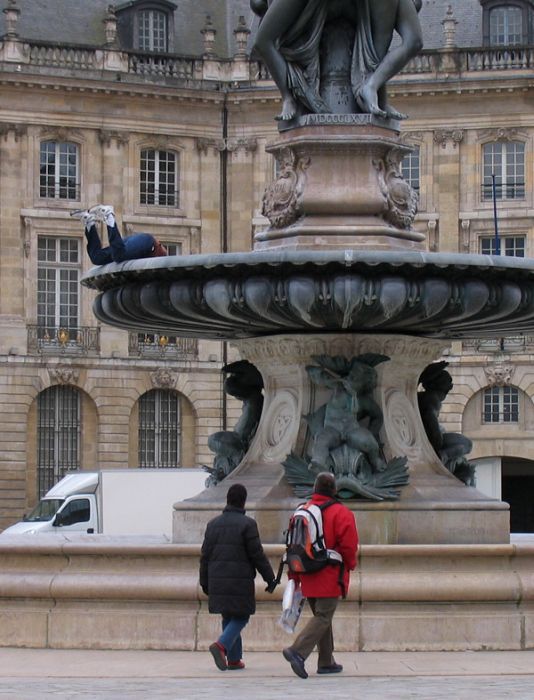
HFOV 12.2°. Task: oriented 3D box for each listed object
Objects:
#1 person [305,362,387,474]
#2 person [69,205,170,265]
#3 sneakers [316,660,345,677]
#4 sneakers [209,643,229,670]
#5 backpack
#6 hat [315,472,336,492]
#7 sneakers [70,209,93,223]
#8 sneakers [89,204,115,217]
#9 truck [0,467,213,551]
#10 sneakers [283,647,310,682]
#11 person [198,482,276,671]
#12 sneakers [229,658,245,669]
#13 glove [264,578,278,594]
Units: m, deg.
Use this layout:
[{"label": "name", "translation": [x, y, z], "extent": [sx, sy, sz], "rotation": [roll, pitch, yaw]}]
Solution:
[{"label": "person", "translation": [0.665, 0.594, 22.201], "extent": [0.714, 1.299, 0.316], "rotation": [4, -33, 3]}, {"label": "person", "translation": [-1.262, -1.007, 22.583], "extent": [1.055, 0.539, 0.369], "rotation": [9, -14, -43]}, {"label": "sneakers", "translation": [0.487, 2.515, 19.699], "extent": [0.221, 0.104, 0.077], "rotation": [-2, -2, -8]}, {"label": "sneakers", "translation": [-0.436, 2.436, 19.840], "extent": [0.084, 0.255, 0.168], "rotation": [-20, -13, 25]}, {"label": "backpack", "translation": [0.330, 1.503, 19.785], "extent": [0.545, 0.578, 0.366], "rotation": [-6, -13, 41]}, {"label": "hat", "translation": [0.460, 1.029, 19.739], "extent": [0.135, 0.202, 0.153], "rotation": [6, 14, 5]}, {"label": "sneakers", "translation": [-1.691, -1.217, 22.622], "extent": [0.163, 0.076, 0.139], "rotation": [-1, -8, 16]}, {"label": "sneakers", "translation": [-1.520, -1.249, 22.640], "extent": [0.249, 0.118, 0.093], "rotation": [-5, -1, 28]}, {"label": "truck", "translation": [-2.471, 2.400, 38.980], "extent": [3.025, 1.534, 1.538], "rotation": [0, -10, 4]}, {"label": "sneakers", "translation": [0.216, 2.429, 19.537], "extent": [0.128, 0.307, 0.112], "rotation": [-21, -13, -26]}, {"label": "person", "translation": [-0.250, 1.814, 19.989], "extent": [0.627, 1.469, 0.373], "rotation": [6, -4, -1]}, {"label": "sneakers", "translation": [-0.259, 2.495, 19.933], "extent": [0.050, 0.106, 0.154], "rotation": [1, -1, 36]}, {"label": "glove", "translation": [0.034, 1.877, 19.995], "extent": [0.070, 0.138, 0.137], "rotation": [25, -11, -28]}]
